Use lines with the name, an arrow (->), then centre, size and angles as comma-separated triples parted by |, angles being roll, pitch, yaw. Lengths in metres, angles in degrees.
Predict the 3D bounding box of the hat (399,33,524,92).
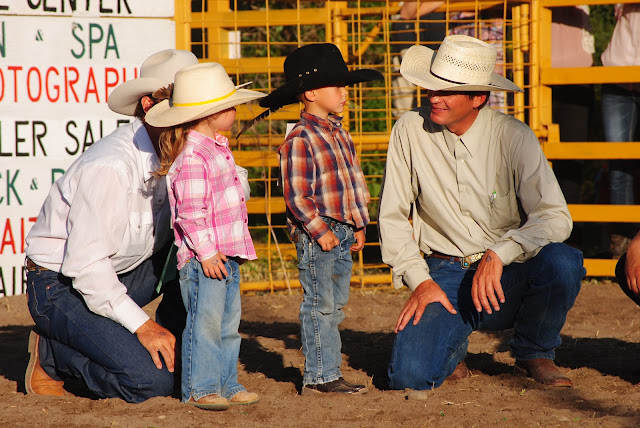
hat -> 1.074, -1.130, 9.355 | 0.623, 0.223, 0.583 | 4, 24, -24

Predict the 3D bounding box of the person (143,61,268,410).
person -> -0.810, 0.146, 8.996 | 0.766, 2.431, 0.805 | -1, 11, -4

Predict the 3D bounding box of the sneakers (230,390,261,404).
sneakers -> -0.550, 1.342, 8.975 | 0.179, 0.072, 0.095 | -2, 0, 7

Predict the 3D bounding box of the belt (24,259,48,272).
belt -> -2.115, 0.392, 9.145 | 0.138, 0.054, 0.104 | 6, -1, -14

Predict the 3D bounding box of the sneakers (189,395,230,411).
sneakers -> -0.776, 1.370, 8.838 | 0.248, 0.094, 0.105 | -1, 4, 12

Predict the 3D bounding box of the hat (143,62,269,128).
hat -> -0.891, -0.826, 9.054 | 0.645, 0.253, 0.536 | -20, 20, -7

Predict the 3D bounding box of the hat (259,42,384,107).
hat -> -0.016, -1.140, 9.708 | 0.848, 0.395, 1.018 | -15, -1, 5

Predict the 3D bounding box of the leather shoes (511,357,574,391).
leather shoes -> 1.685, 1.199, 9.216 | 0.444, 0.189, 0.168 | 7, 16, 38

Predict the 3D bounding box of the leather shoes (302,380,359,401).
leather shoes -> 0.094, 1.304, 9.199 | 0.418, 0.169, 0.154 | -4, -3, 4

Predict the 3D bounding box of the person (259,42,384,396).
person -> 0.010, 0.013, 9.370 | 0.788, 2.548, 0.989 | 0, 11, 1
